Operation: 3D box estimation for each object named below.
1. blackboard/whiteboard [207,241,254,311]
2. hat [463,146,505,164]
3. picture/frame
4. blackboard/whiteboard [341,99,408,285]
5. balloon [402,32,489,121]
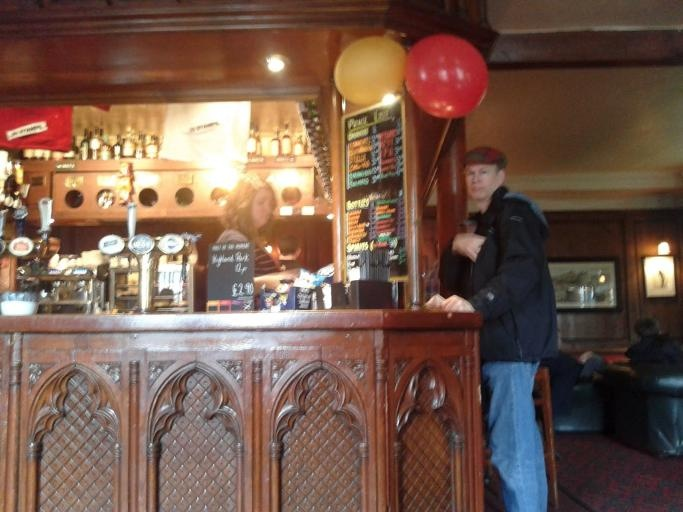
[{"bbox_3d":[-0.667,0.134,4.734,0.379,0.562,0.025,-2,-8,11],"label":"blackboard/whiteboard"},{"bbox_3d":[0.944,-0.662,5.166,0.181,0.071,0.137,7,10,33],"label":"hat"},{"bbox_3d":[3.445,0.419,10.820,0.794,0.618,0.087,-1,-9,3],"label":"picture/frame"},{"bbox_3d":[0.255,-0.482,5.786,0.180,1.308,0.737,1,-3,-33],"label":"blackboard/whiteboard"},{"bbox_3d":[0.697,-1.129,5.115,0.504,0.514,0.614,8,-38,28],"label":"balloon"}]
